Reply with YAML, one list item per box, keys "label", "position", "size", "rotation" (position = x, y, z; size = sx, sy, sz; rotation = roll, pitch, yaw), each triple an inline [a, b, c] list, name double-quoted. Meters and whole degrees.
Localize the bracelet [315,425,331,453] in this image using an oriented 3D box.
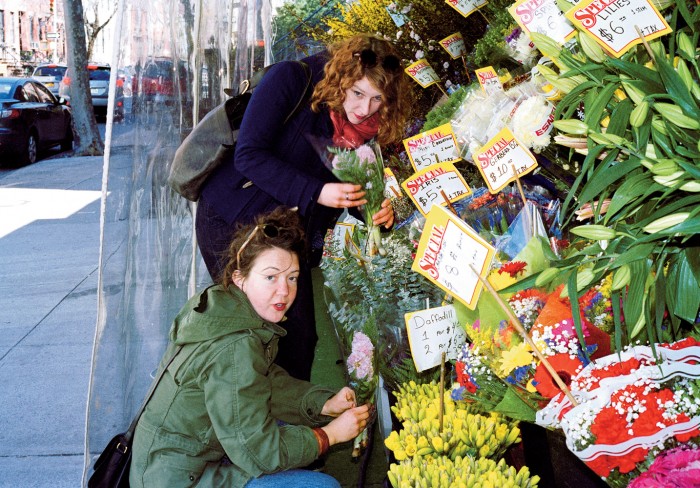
- label: "bracelet"
  position: [-0.092, 0.661, 1.816]
  size: [0.043, 0.068, 0.064]
  rotation: [-2, -17, -19]
